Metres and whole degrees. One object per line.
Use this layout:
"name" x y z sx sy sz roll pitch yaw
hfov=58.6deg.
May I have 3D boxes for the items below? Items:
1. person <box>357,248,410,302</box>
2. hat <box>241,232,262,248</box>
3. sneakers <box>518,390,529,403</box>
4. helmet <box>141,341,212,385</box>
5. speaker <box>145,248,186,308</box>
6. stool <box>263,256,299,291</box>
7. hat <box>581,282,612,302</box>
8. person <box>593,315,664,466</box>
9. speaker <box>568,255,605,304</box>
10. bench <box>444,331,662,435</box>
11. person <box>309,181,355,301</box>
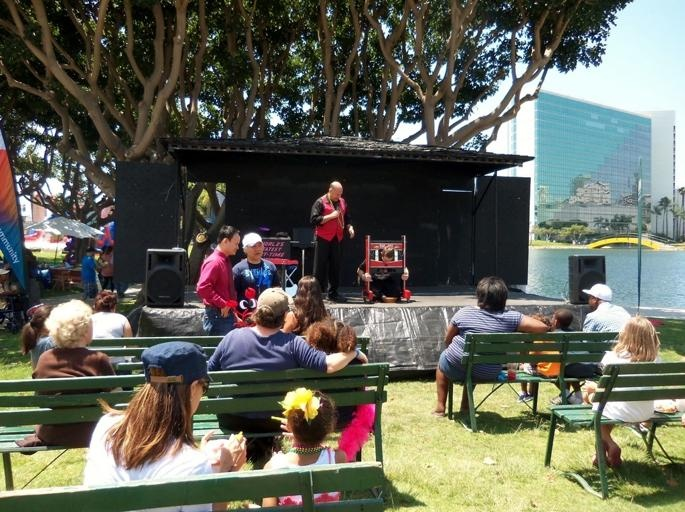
"person" 0.761 0.271 10.380 0.883 1.052 0.855 -2 5 -15
"hat" -1.076 -0.202 7.210 0.194 0.154 0.277 0 -12 -22
"sneakers" 2.213 1.703 7.422 0.200 0.095 0.069 13 -15 -41
"helmet" -0.981 0.629 3.630 0.400 0.212 0.385 2 -4 -19
"speaker" -2.720 0.265 9.369 0.550 0.888 0.616 2 11 -17
"stool" -1.037 0.233 11.006 0.554 0.805 0.570 3 -17 -15
"hat" 3.437 0.490 8.310 0.260 0.209 0.340 8 3 -41
"person" 2.583 1.275 5.610 0.426 1.446 0.585 2 0 -16
"speaker" 3.838 0.374 9.566 0.673 0.947 0.453 1 -4 -10
"bench" 2.297 1.338 6.688 2.091 0.998 0.762 2 -4 -9
"person" -0.146 -0.256 10.136 0.604 1.934 0.626 1 20 0
